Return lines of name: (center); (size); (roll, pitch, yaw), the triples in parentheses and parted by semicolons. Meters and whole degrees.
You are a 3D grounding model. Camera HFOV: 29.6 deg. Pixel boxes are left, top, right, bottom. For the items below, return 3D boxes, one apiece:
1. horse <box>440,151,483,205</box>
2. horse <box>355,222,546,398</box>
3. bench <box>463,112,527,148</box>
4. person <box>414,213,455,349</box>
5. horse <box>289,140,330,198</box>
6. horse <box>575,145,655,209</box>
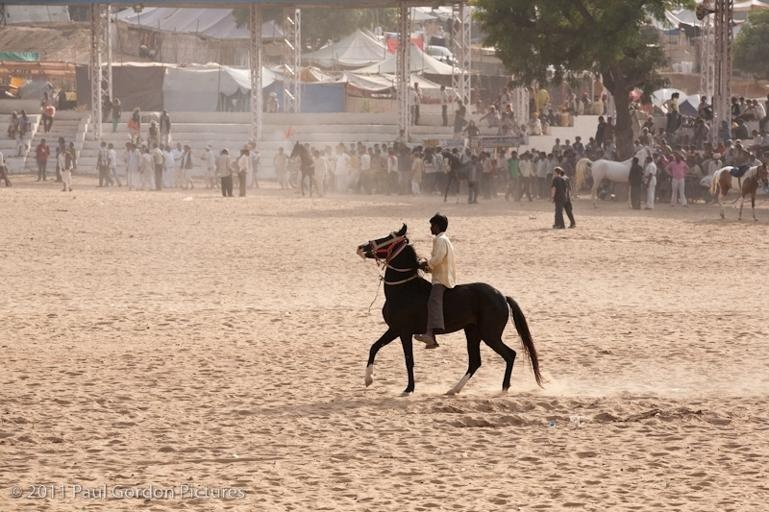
horse: (2.752, -2.781, 51.422); (1.318, 1.898, 2.719); (0, 2, 3)
horse: (0.949, 1.153, 32.156); (3.205, 4.119, 7.009); (3, -4, -41)
bench: (4.257, -4.905, 55.810); (2.341, 1.674, 5.230); (0, 2, 2)
person: (1.151, 0.547, 31.919); (0.787, 2.944, 0.538); (0, 2, 1)
horse: (-2.800, -3.181, 53.582); (1.332, 1.947, 2.826); (0, 2, -3)
horse: (7.884, -2.657, 49.558); (3.361, 1.868, 0.719); (-2, 8, -18)
